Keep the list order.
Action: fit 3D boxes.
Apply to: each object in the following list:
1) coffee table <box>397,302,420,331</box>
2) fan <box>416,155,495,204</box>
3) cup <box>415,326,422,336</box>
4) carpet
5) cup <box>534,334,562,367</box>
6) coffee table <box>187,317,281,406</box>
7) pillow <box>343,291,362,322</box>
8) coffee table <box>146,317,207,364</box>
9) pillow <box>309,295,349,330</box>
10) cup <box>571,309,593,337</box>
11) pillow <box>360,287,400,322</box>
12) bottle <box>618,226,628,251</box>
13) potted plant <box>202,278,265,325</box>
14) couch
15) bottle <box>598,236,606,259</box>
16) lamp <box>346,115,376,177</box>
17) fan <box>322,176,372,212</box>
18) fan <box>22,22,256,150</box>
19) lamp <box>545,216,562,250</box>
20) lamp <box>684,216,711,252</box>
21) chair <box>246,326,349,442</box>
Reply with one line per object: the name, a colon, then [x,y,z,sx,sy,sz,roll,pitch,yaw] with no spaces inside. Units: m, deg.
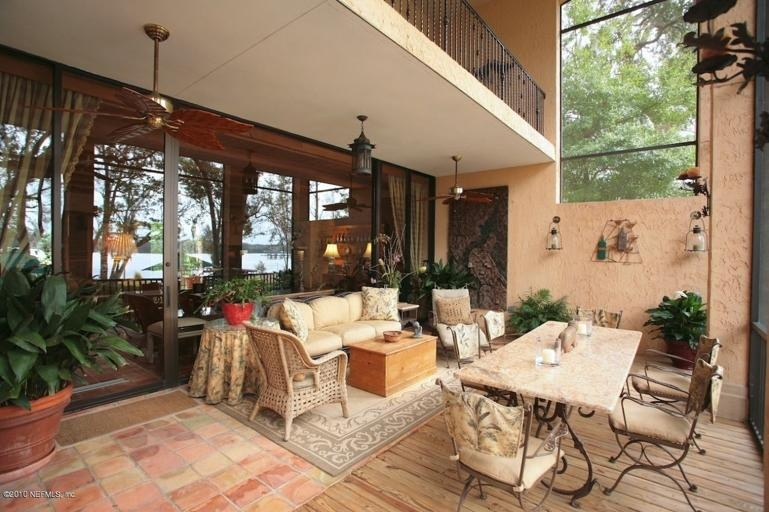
coffee table: [0.432,1.044,8.684,0.453,0.419,0.449,-1,0,21]
fan: [1.278,-1.273,8.223,1.029,0.626,1.028,2,-5,29]
cup: [0.486,1.045,6.773,0.119,0.127,0.117,1,-4,0]
carpet: [-0.534,1.890,5.493,1.252,0.020,1.895,11,11,37]
cup: [1.745,0.966,5.039,0.296,0.306,0.282,0,1,0]
coffee table: [-2.003,1.201,6.224,0.876,0.913,1.045,4,16,-6]
pillow: [-0.485,0.786,7.505,0.209,0.352,0.392,-10,-8,31]
coffee table: [-2.698,0.959,6.259,0.552,0.442,0.755,7,8,37]
pillow: [-0.933,0.808,7.442,0.875,0.462,0.640,4,-3,-44]
cup: [2.438,0.812,5.919,0.323,0.343,0.332,0,-3,0]
pillow: [-0.076,0.756,7.614,0.524,0.439,0.189,4,-19,-14]
bottle: [3.899,-0.270,7.880,0.154,0.386,0.070,1,2,26]
potted plant: [-1.904,0.543,6.287,0.654,0.538,0.627,-2,0,10]
couch: [-0.632,0.975,7.120,0.815,0.793,2.145,3,5,38]
bottle: [3.641,-0.140,8.065,0.161,0.372,0.068,1,2,22]
lamp: [-0.299,-1.512,6.607,0.370,0.738,0.440,-1,6,-24]
fan: [-0.625,-0.964,8.248,0.582,0.504,0.586,-6,-11,37]
fan: [-2.412,-1.739,4.895,1.661,0.963,1.894,-3,-1,36]
lamp: [2.989,-0.400,8.462,0.255,0.585,0.106,1,2,23]
lamp: [4.691,-0.349,7.244,0.272,0.578,0.318,1,1,32]
chair: [-1.072,1.329,6.011,1.146,1.444,1.263,3,5,42]
